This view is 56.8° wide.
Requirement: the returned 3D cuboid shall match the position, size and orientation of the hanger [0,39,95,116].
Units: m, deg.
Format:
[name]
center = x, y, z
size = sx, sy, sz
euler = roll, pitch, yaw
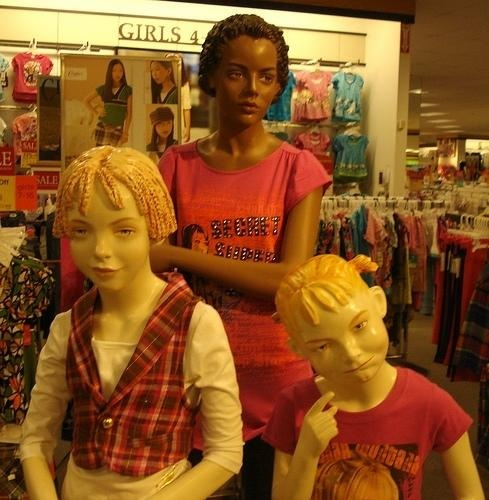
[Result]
[hanger]
center = -2.590, -2.210, 5.663
size = 1.080, 0.806, 0.364
euler = 1, 9, -2
